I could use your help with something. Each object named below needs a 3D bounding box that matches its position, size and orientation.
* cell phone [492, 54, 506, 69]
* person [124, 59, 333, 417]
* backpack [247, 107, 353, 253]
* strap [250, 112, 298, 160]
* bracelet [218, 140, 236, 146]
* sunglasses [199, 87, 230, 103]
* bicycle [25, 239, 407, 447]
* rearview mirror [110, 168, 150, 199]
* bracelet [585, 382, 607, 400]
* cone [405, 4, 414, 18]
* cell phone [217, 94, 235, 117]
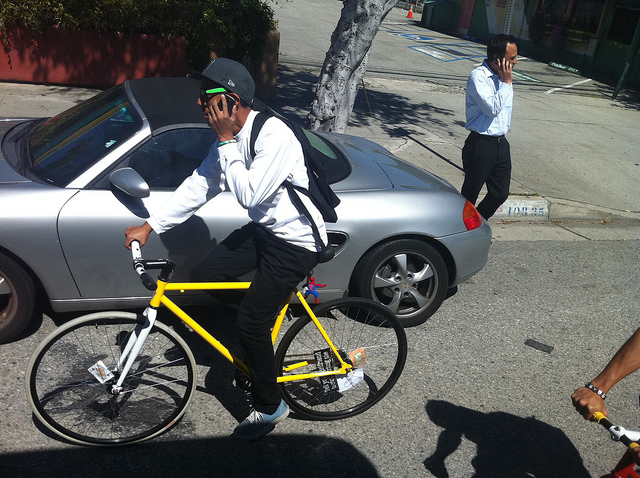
[{"bbox_3d":[2.018,-2.027,5.588,0.054,0.098,0.176,3,27,-13],"label":"cell phone"},{"bbox_3d":[-0.491,0.045,3.220,1.060,2.245,0.563,21,29,21],"label":"person"},{"bbox_3d":[-0.028,-0.413,3.393,0.492,0.761,0.800,-13,2,35],"label":"backpack"},{"bbox_3d":[-0.278,-0.610,2.927,0.231,0.287,0.233,1,25,-14],"label":"strap"},{"bbox_3d":[-0.511,-0.536,2.747,0.085,0.034,0.054,0,28,-18],"label":"bracelet"},{"bbox_3d":[-0.581,-0.787,2.712,0.117,0.045,0.084,-2,5,-7],"label":"sunglasses"},{"bbox_3d":[-0.586,0.750,3.369,2.644,1.262,0.466,1,13,-14],"label":"bicycle"},{"bbox_3d":[-1.256,-0.389,3.300,0.337,0.088,0.192,35,44,29],"label":"rearview mirror"},{"bbox_3d":[1.328,0.740,2.399,0.091,0.026,0.069,35,20,30],"label":"bracelet"},{"bbox_3d":[6.703,-16.647,36.343,0.468,0.667,1.217,12,26,4],"label":"cone"},{"bbox_3d":[-0.508,-0.731,2.709,0.042,0.113,0.093,28,32,32],"label":"cell phone"}]
